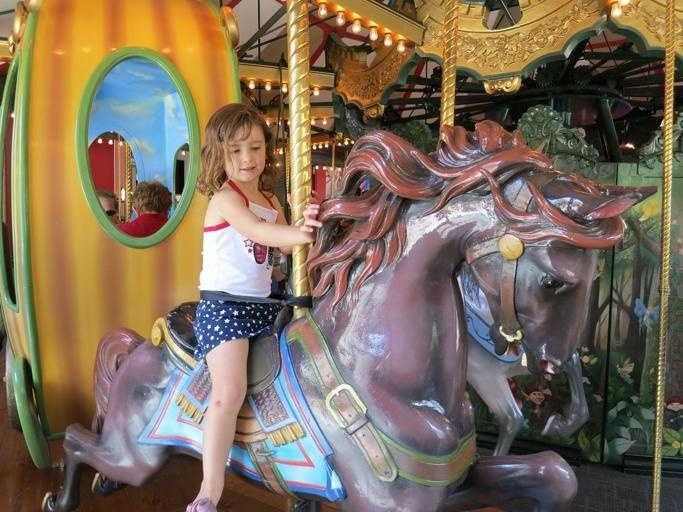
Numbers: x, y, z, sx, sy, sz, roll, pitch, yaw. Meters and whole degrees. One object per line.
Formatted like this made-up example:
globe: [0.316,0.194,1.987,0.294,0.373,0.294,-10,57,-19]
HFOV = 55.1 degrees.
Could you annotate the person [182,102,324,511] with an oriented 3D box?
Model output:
person: [-0.376,0.160,2.745,0.477,1.579,0.567,1,0,-11]
